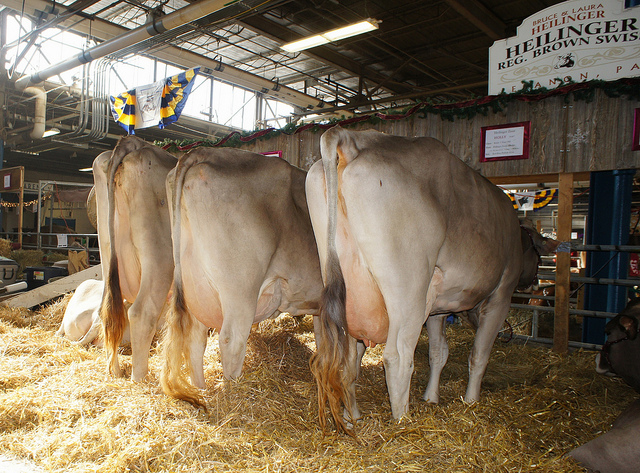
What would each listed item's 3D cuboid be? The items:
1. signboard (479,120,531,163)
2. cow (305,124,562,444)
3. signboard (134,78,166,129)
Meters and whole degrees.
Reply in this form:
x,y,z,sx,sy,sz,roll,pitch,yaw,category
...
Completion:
x,y,z,sx,sy,sz,roll,pitch,yaw,category
2.359,-1.218,6.978,0.513,0.442,0.053,0,-1,34,signboard
0.854,0.326,5.098,2.101,2.581,0.809,-4,10,-32,cow
-3.466,-2.670,11.124,0.938,1.057,0.079,-9,-18,9,signboard
